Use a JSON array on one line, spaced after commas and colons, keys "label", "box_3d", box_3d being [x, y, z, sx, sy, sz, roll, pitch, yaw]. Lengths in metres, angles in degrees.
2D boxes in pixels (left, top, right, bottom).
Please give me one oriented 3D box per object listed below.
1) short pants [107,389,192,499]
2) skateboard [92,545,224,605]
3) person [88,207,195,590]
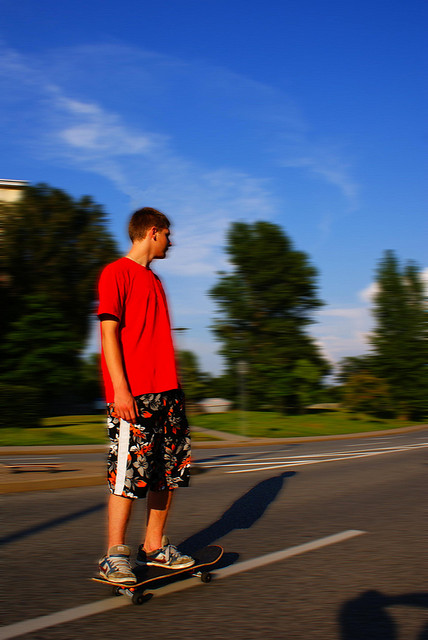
[{"label": "short pants", "box_3d": [-0.330, 0.610, 3.586, 0.350, 0.527, 0.622, -15, -16, 41]}, {"label": "skateboard", "box_3d": [-0.213, 1.253, 3.668, 0.787, 0.124, 0.221, 2, -3, -39]}, {"label": "person", "box_3d": [-0.349, 0.350, 3.658, 0.350, 1.912, 0.572, 0, -6, 35]}]
